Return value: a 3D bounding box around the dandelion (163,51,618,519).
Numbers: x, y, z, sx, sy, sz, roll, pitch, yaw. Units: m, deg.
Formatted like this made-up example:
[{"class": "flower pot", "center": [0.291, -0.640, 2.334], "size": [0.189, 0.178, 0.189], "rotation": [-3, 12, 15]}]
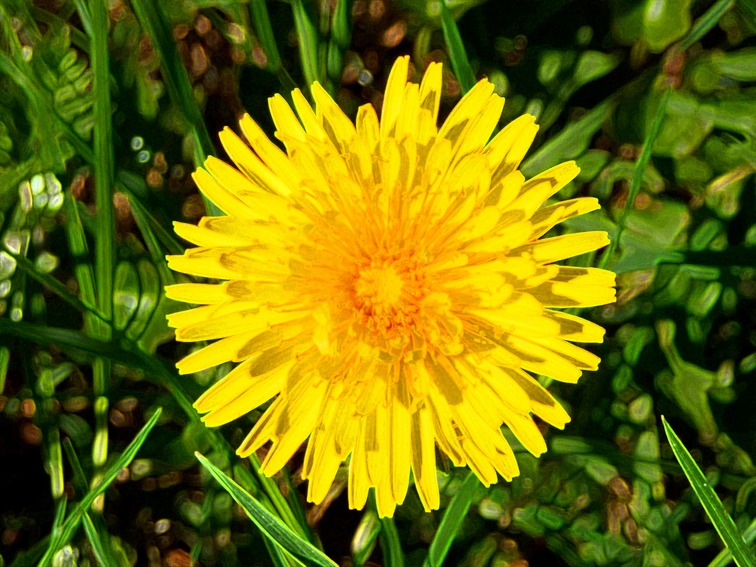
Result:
[{"class": "dandelion", "center": [0.004, -0.058, 1.364], "size": [0.657, 0.720, 0.298], "rotation": [11, -71, 20]}]
